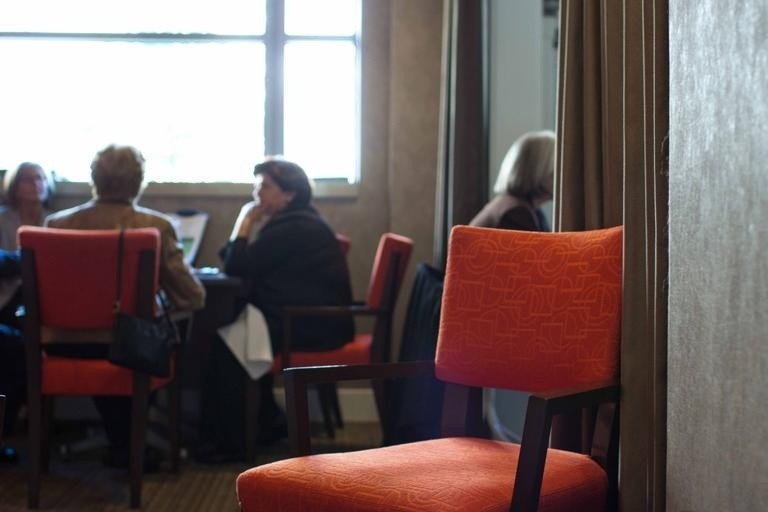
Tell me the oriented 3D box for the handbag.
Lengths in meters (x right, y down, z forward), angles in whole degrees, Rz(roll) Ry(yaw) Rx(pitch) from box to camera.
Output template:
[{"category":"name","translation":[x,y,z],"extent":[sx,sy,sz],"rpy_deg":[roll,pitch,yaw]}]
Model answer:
[{"category":"handbag","translation":[-1.018,0.372,3.293],"extent":[0.056,0.274,0.246],"rpy_deg":[-10,-21,40]}]

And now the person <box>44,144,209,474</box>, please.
[{"category":"person","translation":[-1.311,0.138,3.954],"extent":[0.682,1.631,0.462],"rpy_deg":[3,29,-12]}]
